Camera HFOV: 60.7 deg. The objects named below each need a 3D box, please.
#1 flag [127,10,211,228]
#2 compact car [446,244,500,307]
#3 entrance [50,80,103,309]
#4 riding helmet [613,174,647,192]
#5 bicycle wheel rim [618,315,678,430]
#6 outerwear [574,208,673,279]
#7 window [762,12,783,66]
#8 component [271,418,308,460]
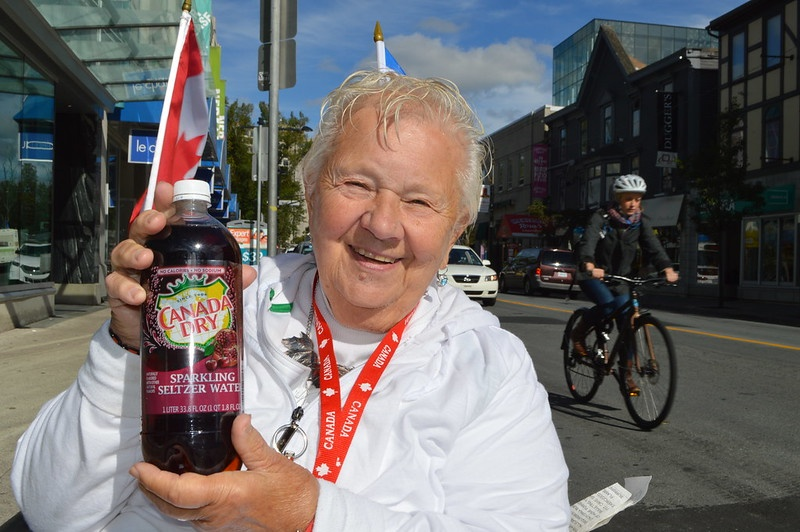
[{"bbox_3d":[-1.199,-0.699,3.658,0.329,1.456,0.098,0,37,-25],"label":"flag"},{"bbox_3d":[1.928,0.137,18.702,1.135,1.001,2.700,1,-5,-1],"label":"compact car"},{"bbox_3d":[-6.998,-1.533,15.187,1.269,4.541,0.883,-1,-6,1],"label":"entrance"},{"bbox_3d":[2.511,-0.950,7.558,0.220,0.145,0.326,1,1,6],"label":"riding helmet"},{"bbox_3d":[2.509,1.040,6.850,0.254,1.109,0.701,1,4,-19],"label":"bicycle wheel rim"},{"bbox_3d":[2.439,-0.271,7.607,1.115,1.115,0.698,1,4,-5],"label":"outerwear"},{"bbox_3d":[13.768,-8.310,25.138,0.838,1.760,0.139,5,16,33],"label":"window"},{"bbox_3d":[-0.486,0.783,3.131,0.131,0.181,0.050,7,-11,-2],"label":"component"}]
